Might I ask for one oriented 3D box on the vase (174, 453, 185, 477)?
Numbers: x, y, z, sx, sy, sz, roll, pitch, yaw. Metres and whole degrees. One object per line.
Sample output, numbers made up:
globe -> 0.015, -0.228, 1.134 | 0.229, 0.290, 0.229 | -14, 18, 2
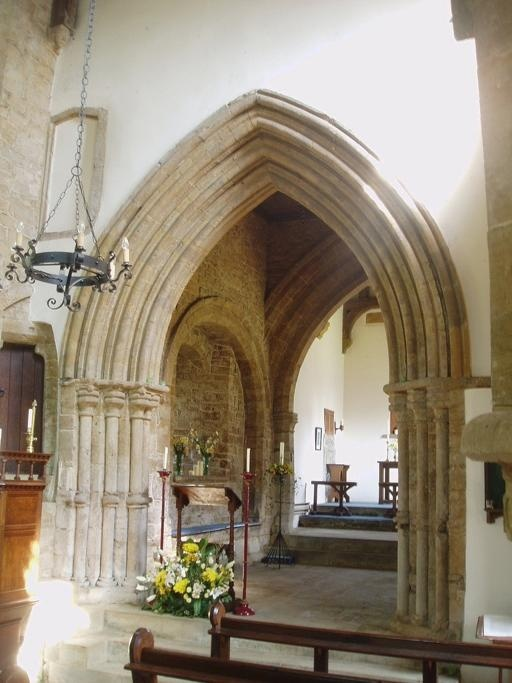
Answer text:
vase -> -1.091, 1.750, 8.315 | 0.131, 0.316, 0.500 | 1, -12, -7

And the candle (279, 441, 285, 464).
candle -> 0.416, 1.802, 9.648 | 0.104, 0.327, 0.132 | 1, -11, -9

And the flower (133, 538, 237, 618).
flower -> -0.575, 2.000, 5.108 | 0.867, 0.576, 0.716 | -8, -14, 30

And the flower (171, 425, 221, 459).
flower -> -0.880, 1.481, 8.667 | 0.470, 0.318, 0.421 | -2, 1, -40
